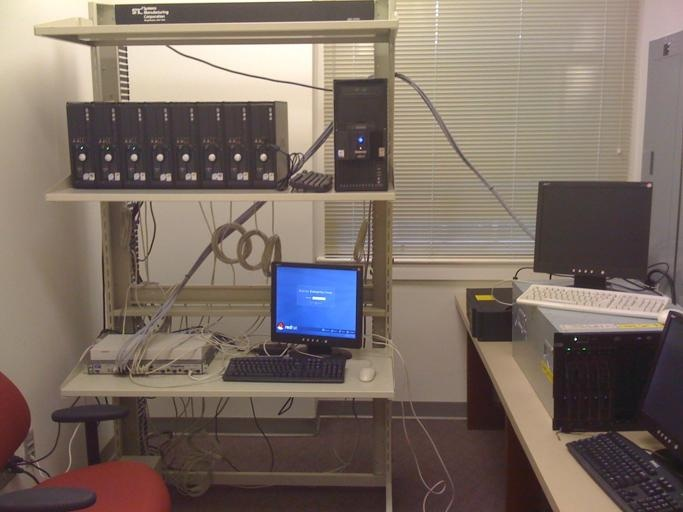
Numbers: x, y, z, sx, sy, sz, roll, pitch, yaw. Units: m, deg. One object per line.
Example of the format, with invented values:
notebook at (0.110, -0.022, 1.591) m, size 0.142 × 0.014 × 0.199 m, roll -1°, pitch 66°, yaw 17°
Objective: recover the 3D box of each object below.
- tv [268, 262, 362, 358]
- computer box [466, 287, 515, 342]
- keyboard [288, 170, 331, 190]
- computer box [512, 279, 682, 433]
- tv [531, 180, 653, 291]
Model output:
tv at (-0.122, 0.255, 2.993) m, size 0.441 × 0.413 × 0.075 m, roll 1°, pitch 0°, yaw 10°
computer box at (0.799, 0.312, 3.311) m, size 0.217 × 0.135 × 0.393 m, roll 0°, pitch 7°, yaw 2°
keyboard at (-0.138, -0.339, 2.843) m, size 0.196 × 0.059 × 0.234 m, roll 1°, pitch 16°, yaw -1°
computer box at (1.059, 0.415, 2.773) m, size 0.454 × 0.348 × 0.730 m, roll 0°, pitch 9°, yaw 2°
tv at (1.173, -0.096, 2.884) m, size 0.485 × 0.506 × 0.143 m, roll 1°, pitch 8°, yaw 20°
